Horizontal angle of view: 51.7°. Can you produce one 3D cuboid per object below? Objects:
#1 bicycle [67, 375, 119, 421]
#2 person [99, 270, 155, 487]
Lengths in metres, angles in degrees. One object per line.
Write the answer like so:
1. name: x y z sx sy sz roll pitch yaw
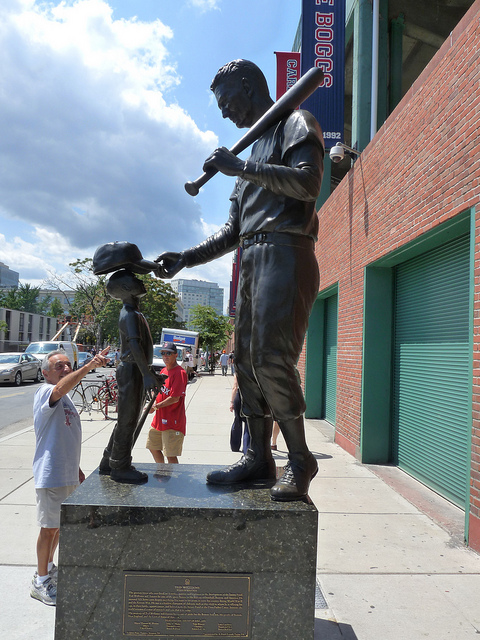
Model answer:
1. bicycle: -3.361 1.784 12.283 0.732 0.973 1.680 22 -19 -40
2. person: -0.565 0.271 2.546 0.333 1.083 0.281 5 -4 7
